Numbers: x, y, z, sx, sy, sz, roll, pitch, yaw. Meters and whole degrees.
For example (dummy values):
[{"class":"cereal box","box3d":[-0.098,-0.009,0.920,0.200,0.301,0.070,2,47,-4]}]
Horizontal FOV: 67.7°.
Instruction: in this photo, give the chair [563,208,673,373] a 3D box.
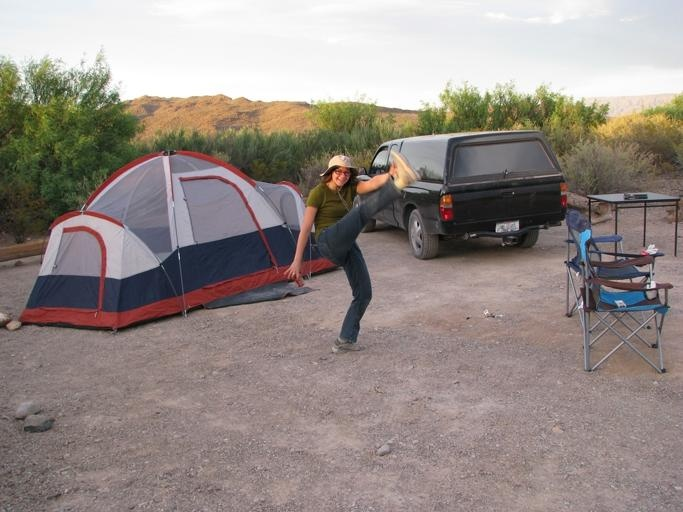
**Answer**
[{"class":"chair","box3d":[3.333,0.434,6.167,0.815,1.177,2.004,-3,11,12]}]

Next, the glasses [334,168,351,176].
[{"class":"glasses","box3d":[0.013,-0.859,5.195,0.192,0.096,0.115,-3,10,-10]}]

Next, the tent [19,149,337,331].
[{"class":"tent","box3d":[-2.556,-0.300,8.027,2.755,1.602,3.273,-3,3,40]}]

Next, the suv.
[{"class":"suv","box3d":[1.912,-1.395,9.957,2.042,1.513,3.663,-5,13,-19]}]

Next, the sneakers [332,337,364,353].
[{"class":"sneakers","box3d":[0.052,1.018,5.788,0.379,0.181,0.142,-1,6,-6]}]

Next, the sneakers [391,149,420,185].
[{"class":"sneakers","box3d":[0.513,-0.754,4.323,0.130,0.190,0.309,-37,24,7]}]
